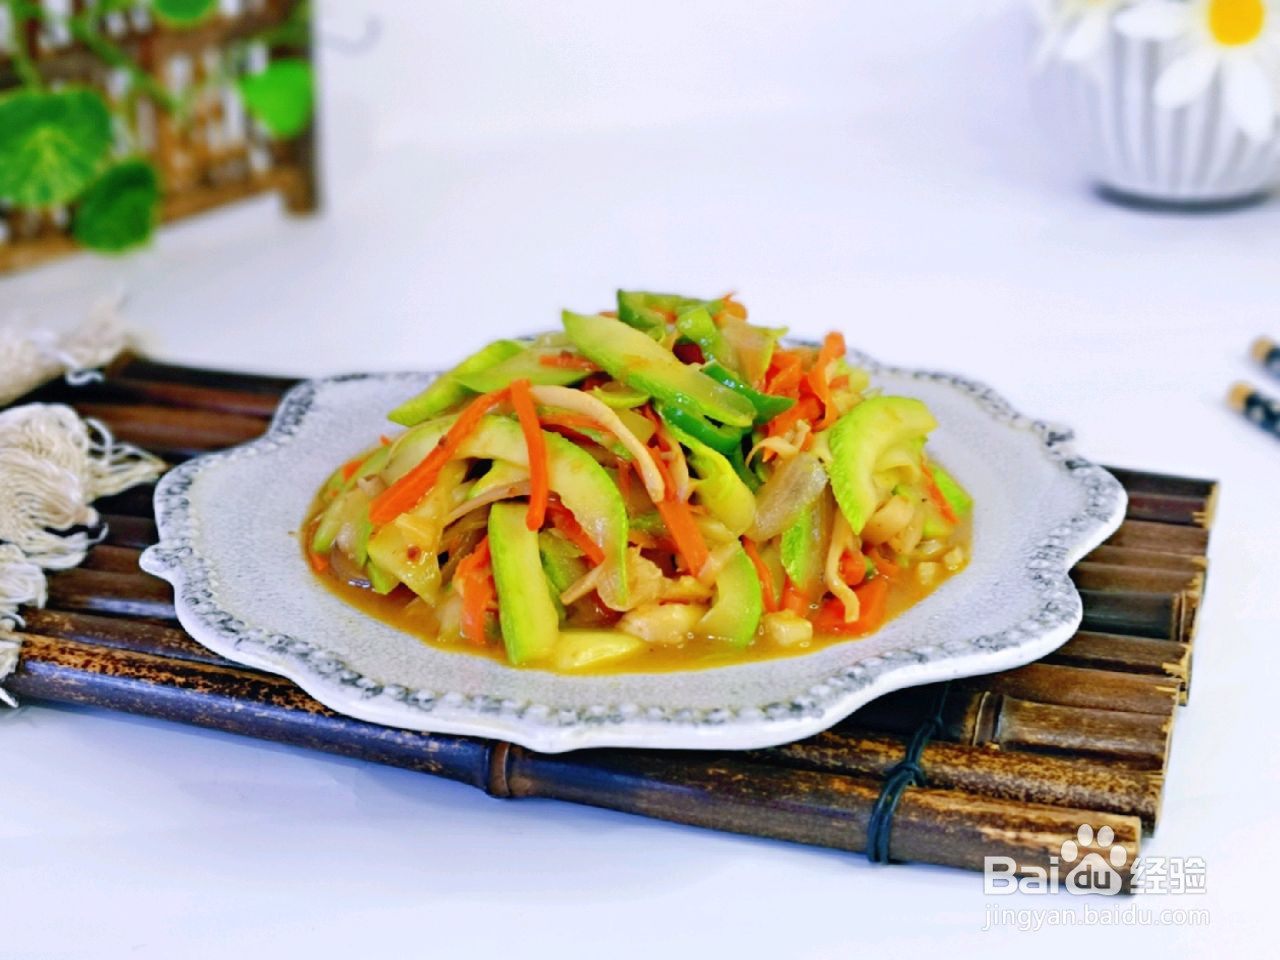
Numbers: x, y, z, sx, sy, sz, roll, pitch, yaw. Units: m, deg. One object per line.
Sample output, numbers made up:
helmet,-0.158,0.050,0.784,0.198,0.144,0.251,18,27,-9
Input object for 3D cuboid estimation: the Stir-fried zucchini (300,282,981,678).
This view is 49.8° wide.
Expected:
Stir-fried zucchini,0.008,-0.033,2.243,1.155,0.310,0.940,14,27,9
